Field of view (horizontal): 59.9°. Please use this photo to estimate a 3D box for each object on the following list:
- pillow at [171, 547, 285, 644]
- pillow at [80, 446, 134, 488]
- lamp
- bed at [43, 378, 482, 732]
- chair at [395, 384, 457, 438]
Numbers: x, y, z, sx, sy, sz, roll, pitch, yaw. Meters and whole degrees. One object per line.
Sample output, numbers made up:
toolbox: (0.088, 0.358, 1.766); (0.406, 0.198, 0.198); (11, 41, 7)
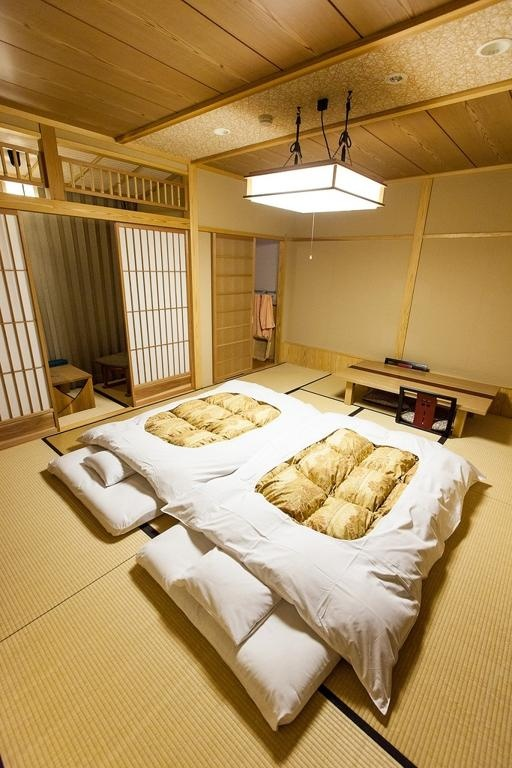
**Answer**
pillow: (-0.112, 0.818, 1.761); (0.243, 0.090, 0.289); (-27, 43, -36)
pillow: (-0.836, 0.493, 2.627); (0.178, 0.085, 0.275); (-9, 33, -38)
lamp: (0.436, -1.205, 2.216); (0.376, 0.405, 0.408); (14, 22, 23)
bed: (0.191, 0.528, 2.809); (2.174, 0.407, 2.336); (-16, 26, -41)
chair: (1.547, 0.247, 4.080); (0.454, 0.490, 0.447); (17, 9, 18)
